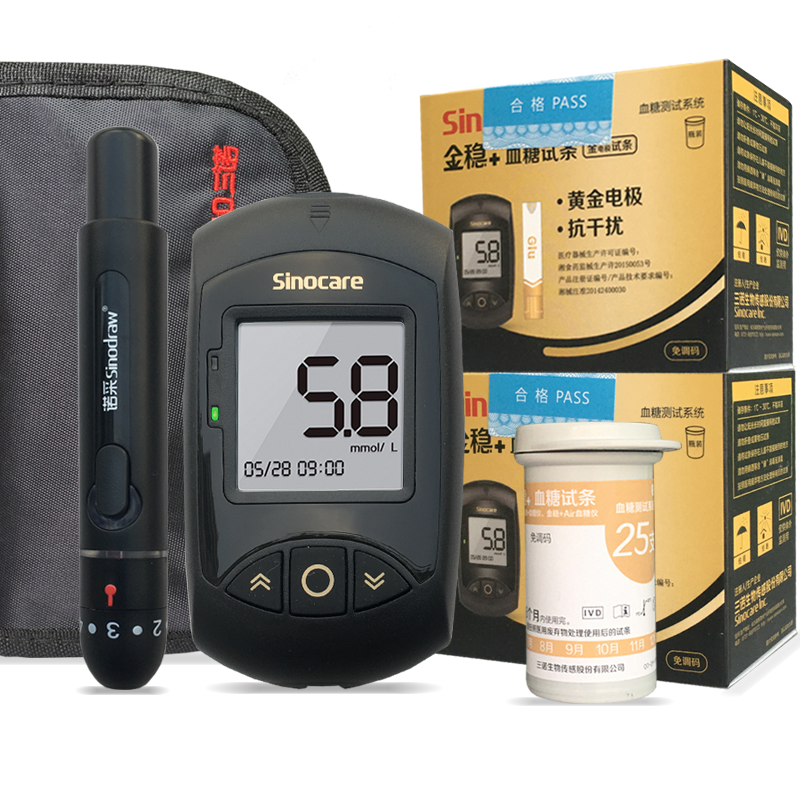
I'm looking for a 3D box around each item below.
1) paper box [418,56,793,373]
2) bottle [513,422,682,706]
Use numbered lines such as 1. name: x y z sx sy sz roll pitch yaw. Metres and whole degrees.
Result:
1. paper box: 0.254 -0.174 0.911 0.400 0.285 0.236 -3 4 -18
2. bottle: 0.150 0.123 0.717 0.123 0.215 0.061 -1 4 15
